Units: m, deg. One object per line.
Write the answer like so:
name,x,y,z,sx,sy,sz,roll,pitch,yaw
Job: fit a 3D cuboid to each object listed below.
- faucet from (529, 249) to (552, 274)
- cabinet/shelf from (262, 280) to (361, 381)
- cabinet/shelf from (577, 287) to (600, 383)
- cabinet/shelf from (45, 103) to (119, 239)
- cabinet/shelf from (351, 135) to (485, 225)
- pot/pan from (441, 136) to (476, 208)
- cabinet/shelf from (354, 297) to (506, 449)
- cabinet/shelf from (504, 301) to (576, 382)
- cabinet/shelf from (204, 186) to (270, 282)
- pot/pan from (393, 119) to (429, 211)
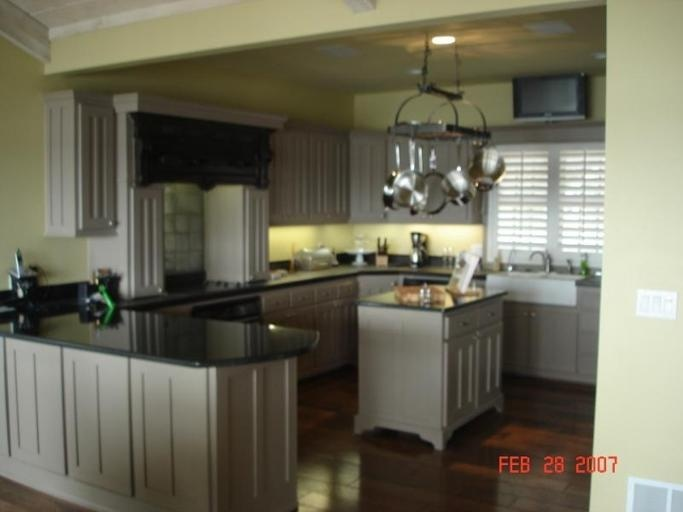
faucet,2.267,0.053,6.731,0.245,0.244,0.100,3,8,21
cabinet/shelf,-0.426,0.786,6.401,0.494,1.009,1.368,4,8,45
cabinet/shelf,2.517,0.790,6.075,0.218,1.039,0.100,4,8,28
cabinet/shelf,-2.161,-0.746,4.974,0.402,1.182,0.495,7,9,20
cabinet/shelf,0.853,-0.965,7.269,1.463,1.066,0.494,3,16,18
pot/pan,0.917,-0.653,4.664,0.262,0.490,0.424,5,8,33
cabinet/shelf,0.828,0.923,5.242,0.822,1.119,1.311,1,2,33
cabinet/shelf,2.203,0.936,6.396,0.299,0.761,0.822,21,-18,-38
cabinet/shelf,-1.059,-0.229,5.916,0.644,0.954,0.355,-1,7,-10
pot/pan,0.518,-0.658,4.486,0.346,0.609,0.096,-10,9,-42
